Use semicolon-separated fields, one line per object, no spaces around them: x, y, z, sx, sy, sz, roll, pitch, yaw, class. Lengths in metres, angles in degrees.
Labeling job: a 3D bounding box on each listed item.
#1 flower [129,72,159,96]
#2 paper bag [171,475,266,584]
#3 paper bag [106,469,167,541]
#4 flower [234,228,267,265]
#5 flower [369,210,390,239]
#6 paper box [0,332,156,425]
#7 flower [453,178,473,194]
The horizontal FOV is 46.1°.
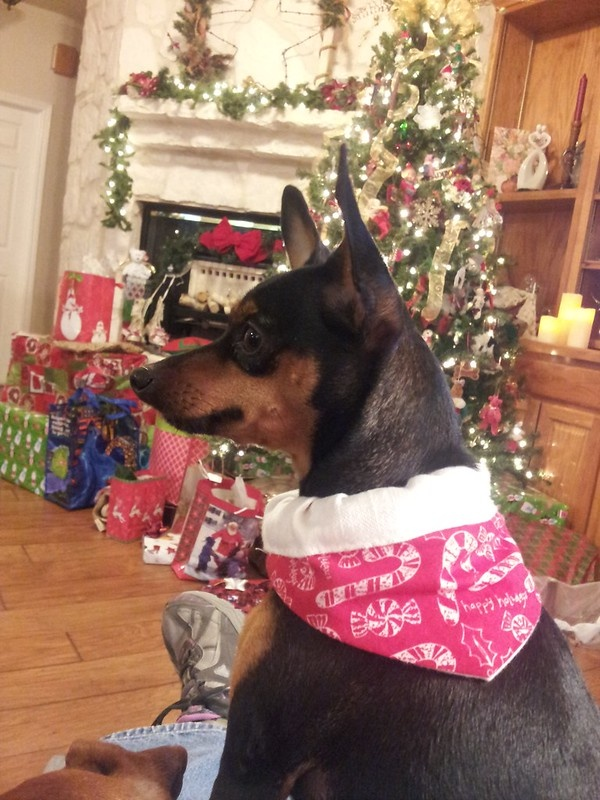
-0.860;-1.716;3.816;0.157;0.145;0.109;10;24;40;flower
-0.215;0.426;2.298;0.326;0.335;0.202;12;7;17;paper bag
-0.595;0.386;2.542;0.134;0.203;0.232;1;-3;15;paper bag
-0.268;-0.844;3.860;0.184;0.162;0.063;3;-2;28;flower
0.276;-0.623;2.462;0.036;0.085;0.072;-12;17;-40;flower
-0.962;-0.133;3.103;0.646;0.288;0.491;8;4;37;paper box
0.568;-0.752;2.471;0.062;0.024;0.056;-11;63;-31;flower
